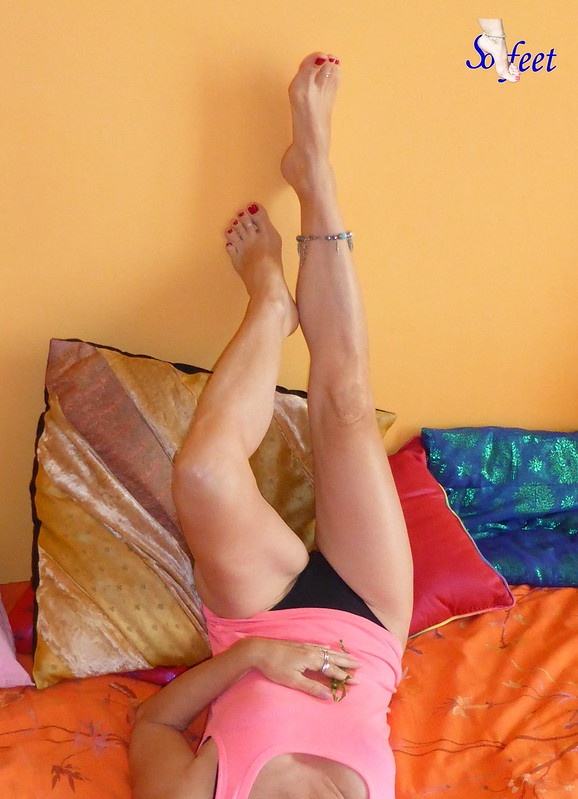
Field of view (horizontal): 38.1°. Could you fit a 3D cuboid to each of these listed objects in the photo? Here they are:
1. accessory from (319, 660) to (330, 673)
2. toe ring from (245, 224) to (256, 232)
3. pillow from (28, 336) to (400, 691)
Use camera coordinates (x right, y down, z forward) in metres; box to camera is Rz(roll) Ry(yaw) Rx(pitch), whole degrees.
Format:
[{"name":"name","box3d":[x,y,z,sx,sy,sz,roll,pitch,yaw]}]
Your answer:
[{"name":"accessory","box3d":[0.057,0.425,1.326,0.008,0.018,0.016,15,1,-15]},{"name":"toe ring","box3d":[-0.078,-0.355,1.728,0.014,0.008,0.020,0,52,6]},{"name":"pillow","box3d":[-0.159,0.166,1.391,0.692,0.560,0.198,13,-18,-30]}]
